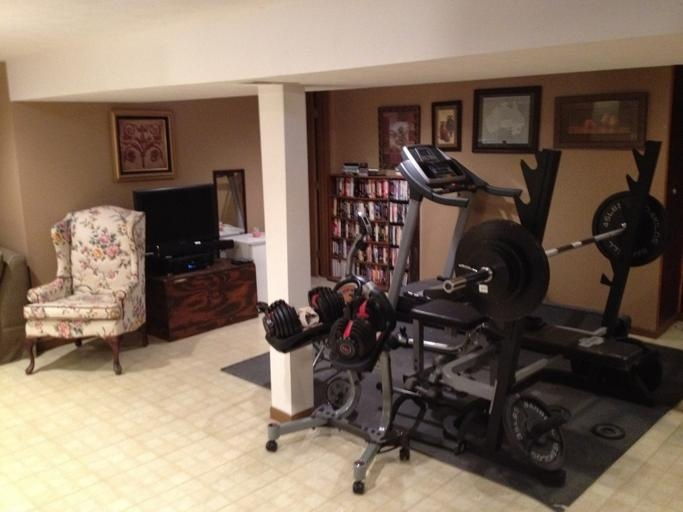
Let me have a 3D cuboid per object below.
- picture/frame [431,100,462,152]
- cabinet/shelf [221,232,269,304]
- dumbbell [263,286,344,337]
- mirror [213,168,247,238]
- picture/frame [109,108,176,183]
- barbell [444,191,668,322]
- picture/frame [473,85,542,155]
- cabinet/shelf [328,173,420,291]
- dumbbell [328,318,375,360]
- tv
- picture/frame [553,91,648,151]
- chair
[{"bbox_3d":[1.324,-1.636,6.437,0.406,0.617,0.175,2,16,21],"label":"picture/frame"},{"bbox_3d":[-1.210,0.054,6.801,0.554,0.979,0.631,-6,14,-37],"label":"cabinet/shelf"},{"bbox_3d":[-0.282,0.406,3.712,0.540,0.244,0.319,-19,10,-24],"label":"dumbbell"},{"bbox_3d":[-1.492,-0.747,6.989,0.407,0.866,0.145,-3,13,-38],"label":"mirror"},{"bbox_3d":[-2.437,-1.358,6.181,0.812,0.865,0.064,-15,19,-38],"label":"picture/frame"},{"bbox_3d":[1.939,-0.074,4.118,2.971,0.897,0.877,-12,12,-41],"label":"barbell"},{"bbox_3d":[1.917,-1.587,5.981,0.796,0.754,0.140,8,19,38],"label":"picture/frame"},{"bbox_3d":[0.452,-0.400,7.268,1.408,1.550,0.423,10,14,42],"label":"cabinet/shelf"},{"bbox_3d":[0.071,0.577,3.420,0.230,0.175,0.314,-9,24,36],"label":"dumbbell"},{"bbox_3d":[-2.062,-0.368,6.228,0.321,1.024,1.109,11,16,35],"label":"tv"},{"bbox_3d":[2.768,-1.432,5.381,1.055,0.658,0.040,7,14,33],"label":"picture/frame"},{"bbox_3d":[-2.642,0.304,5.540,1.075,1.673,1.182,0,9,4],"label":"chair"}]
